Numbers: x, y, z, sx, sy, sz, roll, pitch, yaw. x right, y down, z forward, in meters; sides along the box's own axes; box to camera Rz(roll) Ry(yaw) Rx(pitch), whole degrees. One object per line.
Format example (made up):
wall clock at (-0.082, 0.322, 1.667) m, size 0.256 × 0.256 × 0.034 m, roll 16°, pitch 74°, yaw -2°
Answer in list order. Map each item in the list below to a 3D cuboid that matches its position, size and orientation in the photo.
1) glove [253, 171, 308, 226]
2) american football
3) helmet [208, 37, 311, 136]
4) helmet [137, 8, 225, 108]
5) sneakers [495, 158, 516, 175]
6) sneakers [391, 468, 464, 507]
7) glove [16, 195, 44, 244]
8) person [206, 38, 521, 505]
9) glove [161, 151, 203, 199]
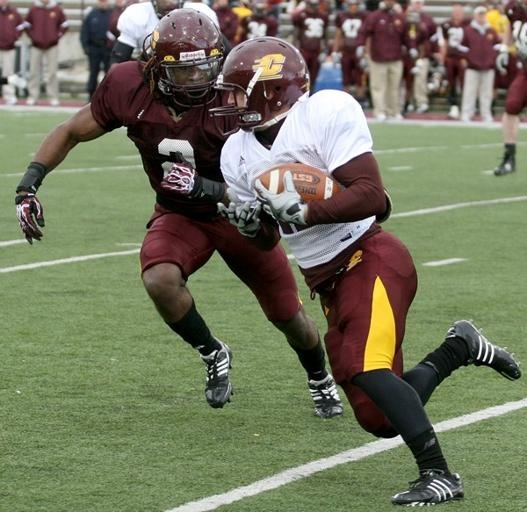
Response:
glove at (0.050, -0.146, 1.965) m, size 0.073 × 0.162 × 0.138 m, roll -43°, pitch 22°, yaw -27°
american football at (0.088, -0.210, 2.027) m, size 0.289 × 0.110 × 0.120 m, roll 7°, pitch 27°, yaw -15°
helmet at (-0.089, -0.569, 2.269) m, size 0.463 × 0.288 × 0.286 m, roll -10°, pitch 30°, yaw -17°
helmet at (-0.328, -0.746, 2.669) m, size 0.377 × 0.294 × 0.371 m, roll -6°, pitch 43°, yaw -8°
sneakers at (1.110, -0.401, 3.228) m, size 0.137 × 0.056 × 0.039 m, roll -3°, pitch -6°, yaw 5°
sneakers at (0.394, 0.630, 1.911) m, size 0.260 × 0.079 × 0.074 m, roll -2°, pitch -30°, yaw -10°
glove at (-0.899, -0.120, 2.754) m, size 0.143 × 0.063 × 0.213 m, roll 4°, pitch -16°, yaw -17°
person at (0.312, -0.015, 2.158) m, size 0.644 × 1.308 × 0.975 m, roll -11°, pitch 19°, yaw -35°
glove at (-0.295, -0.297, 2.558) m, size 0.140 × 0.155 × 0.306 m, roll -1°, pitch 13°, yaw -6°
